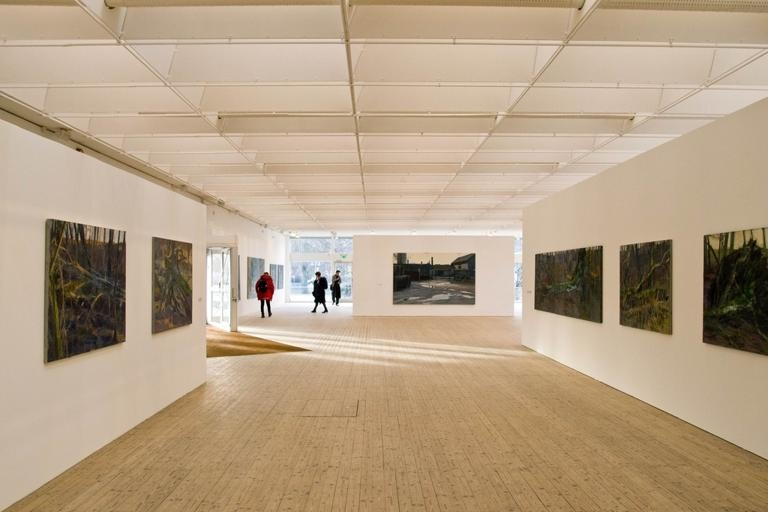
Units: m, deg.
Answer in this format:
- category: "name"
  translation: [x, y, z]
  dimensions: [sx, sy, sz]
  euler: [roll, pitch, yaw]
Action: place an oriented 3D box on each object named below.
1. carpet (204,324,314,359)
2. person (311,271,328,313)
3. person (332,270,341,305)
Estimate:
- category: "carpet"
  translation: [-3.593, 2.279, 13.031]
  dimensions: [2.203, 0.389, 3.873]
  euler: [-3, 7, -27]
- category: "person"
  translation: [-2.798, 1.540, 21.224]
  dimensions: [0.670, 1.841, 1.584]
  euler: [-1, 6, -8]
- category: "person"
  translation: [-2.301, 1.529, 23.043]
  dimensions: [0.336, 1.728, 1.117]
  euler: [-2, 7, -12]
